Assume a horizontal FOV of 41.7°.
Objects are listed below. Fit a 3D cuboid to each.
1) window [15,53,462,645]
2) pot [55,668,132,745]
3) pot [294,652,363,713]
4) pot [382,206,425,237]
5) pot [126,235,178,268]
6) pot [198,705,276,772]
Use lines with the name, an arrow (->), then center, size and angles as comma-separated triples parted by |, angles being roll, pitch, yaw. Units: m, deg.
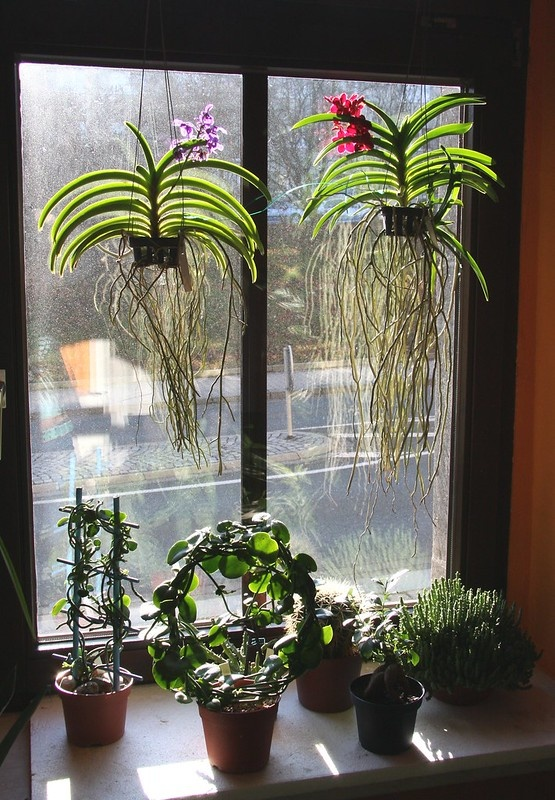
window -> -0.056, -0.045, 1.583 | 1.044, 1.520, 0.067 | -6, 38, -9
pot -> -0.339, 0.557, 1.370 | 0.129, 0.102, 0.126 | 2, 5, 0
pot -> 0.105, 0.568, 1.507 | 0.122, 0.109, 0.142 | -1, 5, -4
pot -> 0.218, -0.300, 1.233 | 0.074, 0.051, 0.056 | 3, 7, 20
pot -> -0.210, -0.250, 1.238 | 0.076, 0.050, 0.073 | 0, 7, 0
pot -> -0.080, 0.569, 1.317 | 0.127, 0.104, 0.124 | -1, 1, 0
